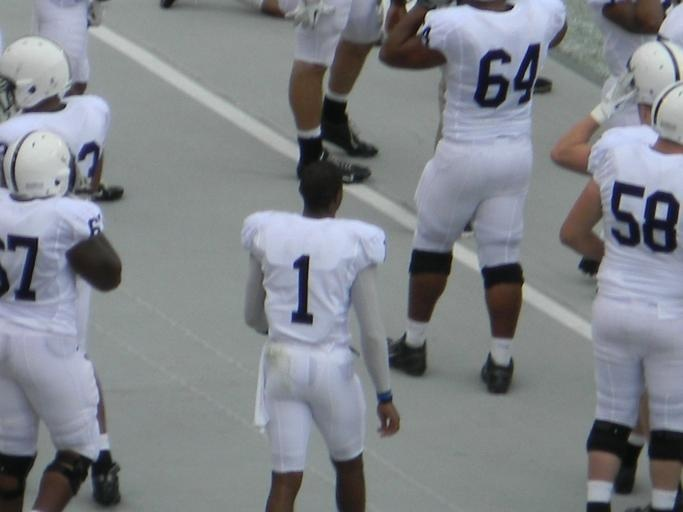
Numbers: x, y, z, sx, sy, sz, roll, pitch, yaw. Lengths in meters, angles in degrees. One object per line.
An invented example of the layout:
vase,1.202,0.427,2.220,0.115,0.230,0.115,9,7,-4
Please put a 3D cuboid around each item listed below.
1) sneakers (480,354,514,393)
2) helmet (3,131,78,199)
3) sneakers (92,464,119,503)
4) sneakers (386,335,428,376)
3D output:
sneakers,0.882,0.683,8.178,0.144,0.223,0.232,2,55,-1
helmet,-1.476,-0.434,6.927,0.303,0.263,0.277,7,22,7
sneakers,-1.217,1.164,7.402,0.148,0.211,0.143,2,24,1
sneakers,0.366,0.568,8.169,0.214,0.226,0.110,25,33,10
